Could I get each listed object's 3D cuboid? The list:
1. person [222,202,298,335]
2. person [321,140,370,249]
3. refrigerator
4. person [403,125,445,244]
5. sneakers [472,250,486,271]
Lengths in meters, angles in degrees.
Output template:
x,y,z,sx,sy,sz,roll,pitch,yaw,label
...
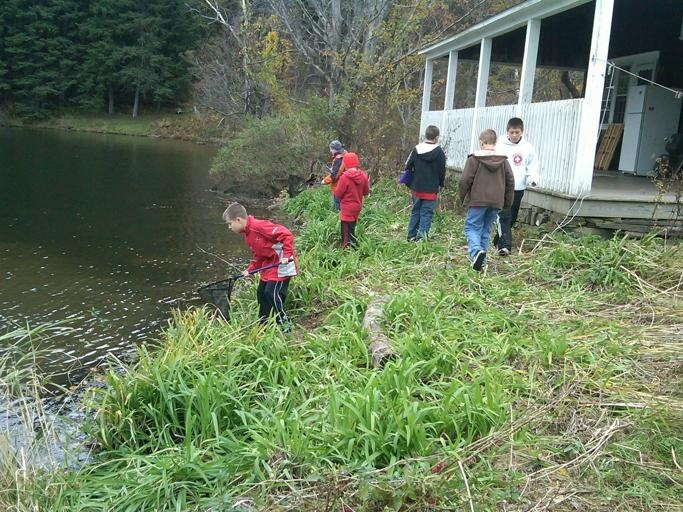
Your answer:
x,y,z,sx,sy,sz,roll,pitch,yaw,label
-0.873,0.107,6.738,0.750,1.352,0.525,5,13,12,person
0.138,-0.892,9.463,0.527,1.415,1.277,2,13,-1,person
6.150,-2.505,12.016,1.020,1.743,0.824,10,14,29,refrigerator
1.220,-1.067,9.031,0.608,1.735,0.475,5,13,12,person
1.700,0.090,7.362,0.110,0.300,0.121,10,36,3,sneakers
